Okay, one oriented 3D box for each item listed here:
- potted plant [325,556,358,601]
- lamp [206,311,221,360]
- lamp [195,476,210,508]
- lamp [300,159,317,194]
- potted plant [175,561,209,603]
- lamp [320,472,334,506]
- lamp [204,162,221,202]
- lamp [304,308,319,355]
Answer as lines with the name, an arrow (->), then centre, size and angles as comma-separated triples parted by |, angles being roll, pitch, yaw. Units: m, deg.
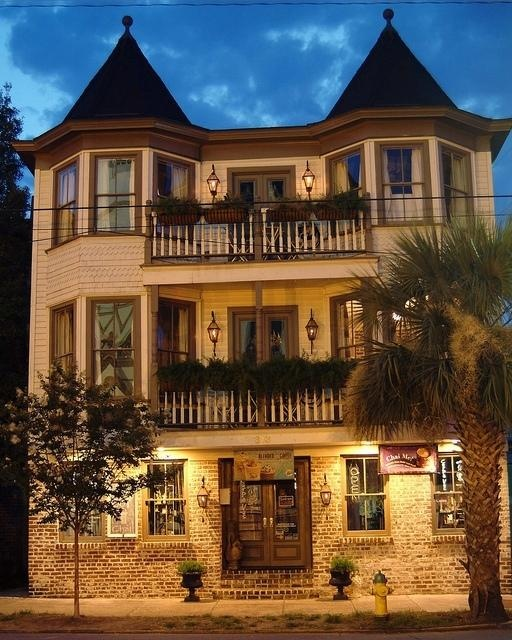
potted plant -> 1.544, 4.637, 17.242 | 0.471, 0.721, 0.643 | -2, -7, 5
lamp -> -0.825, 0.281, 18.872 | 0.263, 1.002, 0.839 | -1, -7, -3
lamp -> -1.004, 3.258, 17.986 | 0.192, 0.590, 0.179 | -4, -7, 24
lamp -> 1.057, -2.880, 19.508 | 0.248, 0.920, 0.716 | -2, -7, 3
potted plant -> -1.153, 4.689, 17.122 | 0.563, 0.827, 0.616 | 3, -8, -18
lamp -> 1.294, 3.191, 17.903 | 0.177, 0.599, 0.251 | -4, -7, 21
lamp -> -0.879, -2.794, 19.435 | 0.272, 1.032, 0.976 | -1, -7, -3
lamp -> 1.096, 0.230, 18.951 | 0.274, 0.936, 0.504 | -2, -7, 2
